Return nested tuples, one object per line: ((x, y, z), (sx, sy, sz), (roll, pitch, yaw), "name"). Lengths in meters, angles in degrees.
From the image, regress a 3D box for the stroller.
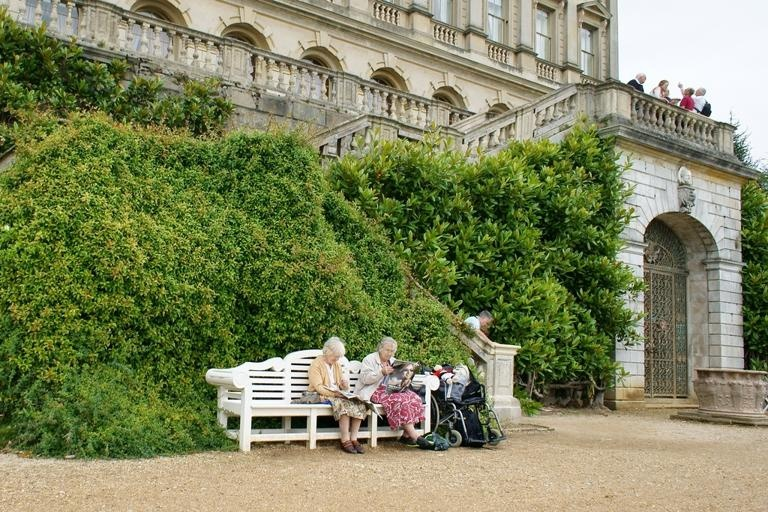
((1.568, 2.682, 19.949), (0.991, 1.417, 1.450), (4, -8, -38), "stroller")

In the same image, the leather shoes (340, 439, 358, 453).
((-0.592, 3.172, 18.817), (0.134, 0.123, 0.274), (-8, 2, -36), "leather shoes")

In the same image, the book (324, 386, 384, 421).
((-0.535, 2.501, 18.926), (0.874, 0.437, 0.193), (8, -15, -23), "book")

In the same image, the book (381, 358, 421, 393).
((0.285, 2.074, 19.369), (0.407, 0.598, 0.235), (14, 9, -10), "book")
